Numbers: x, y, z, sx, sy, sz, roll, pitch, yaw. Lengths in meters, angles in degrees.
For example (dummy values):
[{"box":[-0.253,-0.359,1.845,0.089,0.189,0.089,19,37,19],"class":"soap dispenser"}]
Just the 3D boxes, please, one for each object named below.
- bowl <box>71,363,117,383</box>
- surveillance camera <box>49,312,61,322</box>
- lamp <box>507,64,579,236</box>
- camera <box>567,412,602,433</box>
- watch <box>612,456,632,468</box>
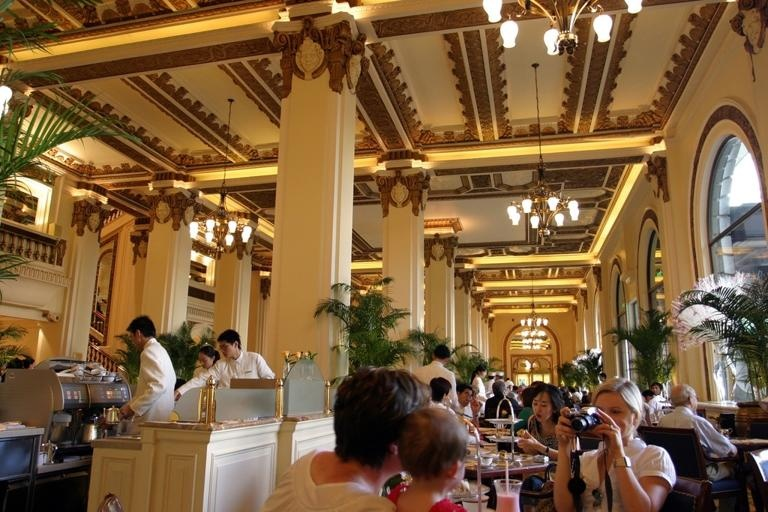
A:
[{"box":[-3.678,1.469,6.316,0.327,0.111,0.263,0,-16,20],"class":"bowl"},{"box":[-8.891,1.634,13.631,0.188,0.100,0.268,-1,-17,-10],"class":"surveillance camera"},{"box":[3.129,-2.218,10.120,1.143,3.078,1.135,-4,10,16],"class":"lamp"},{"box":[1.302,1.066,3.260,0.112,0.113,0.281,-15,-23,34],"class":"camera"},{"box":[1.566,1.362,3.336,0.109,0.070,0.109,24,-25,-12],"class":"watch"}]
